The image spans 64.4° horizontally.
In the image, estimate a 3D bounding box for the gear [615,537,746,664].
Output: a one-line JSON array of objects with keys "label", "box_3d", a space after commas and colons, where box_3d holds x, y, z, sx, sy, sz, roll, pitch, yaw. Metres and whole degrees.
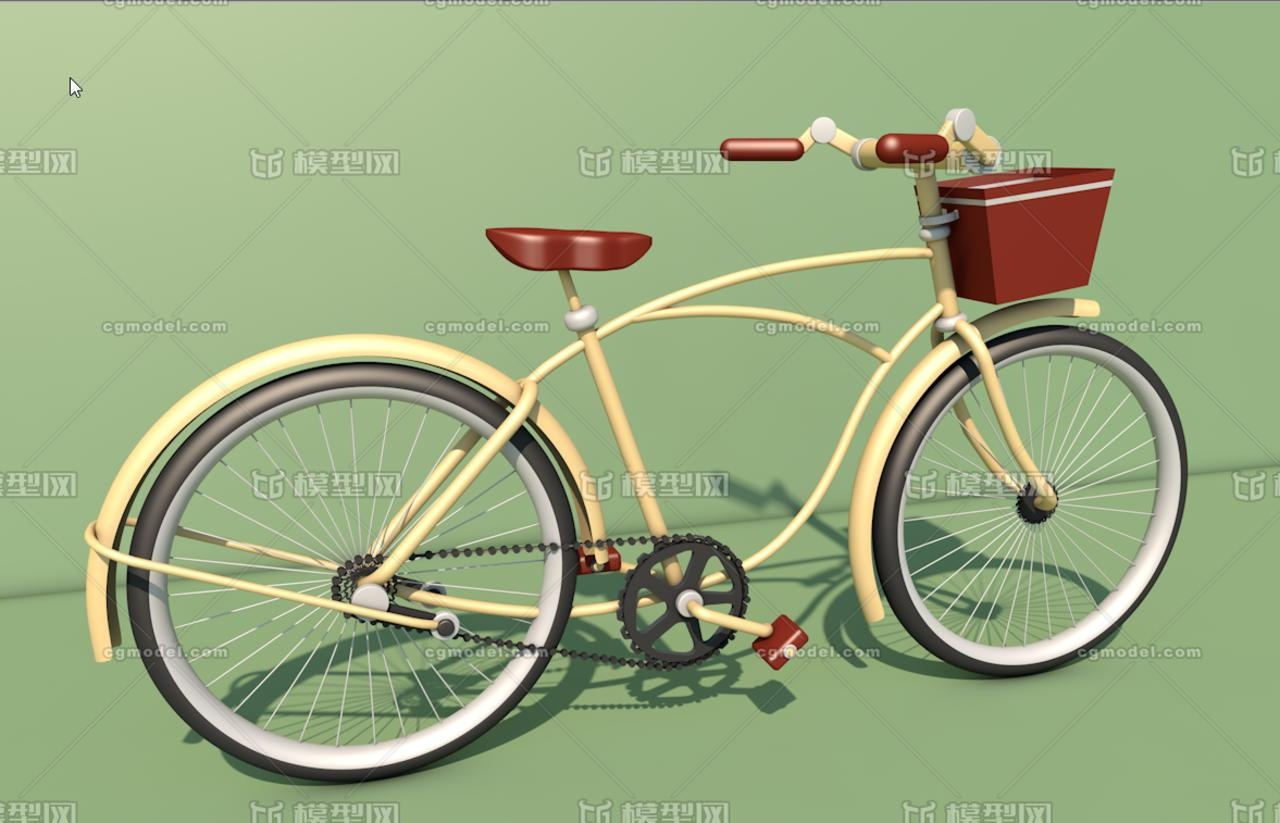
[{"label": "gear", "box_3d": [0.127, 0.594, 3.352, 0.423, 0.319, 0.444, -3, -53, -16]}]
